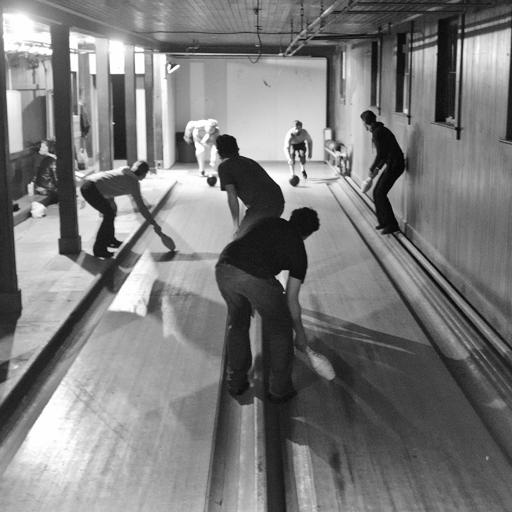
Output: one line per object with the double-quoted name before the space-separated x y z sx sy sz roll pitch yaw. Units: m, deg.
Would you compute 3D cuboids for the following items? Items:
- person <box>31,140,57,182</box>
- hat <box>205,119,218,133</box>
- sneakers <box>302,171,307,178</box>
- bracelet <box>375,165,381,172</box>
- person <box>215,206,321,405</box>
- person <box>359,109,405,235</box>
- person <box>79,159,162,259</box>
"person" -5.101 -2.239 9.446 0.384 1.500 0.522 9 -1 -25
"hat" -1.509 -4.313 13.164 0.404 0.491 0.429 7 14 24
"sneakers" 1.626 -2.622 12.945 0.065 0.265 0.149 -14 37 4
"bracelet" 2.234 -1.592 7.201 0.066 0.082 0.133 1 -3 14
"person" 0.056 0.331 2.475 0.609 1.262 0.439 1 5 -1
"person" 2.391 -1.557 7.376 0.776 2.329 0.612 1 5 5
"person" -2.122 -0.684 6.029 1.277 1.463 0.619 4 6 32
